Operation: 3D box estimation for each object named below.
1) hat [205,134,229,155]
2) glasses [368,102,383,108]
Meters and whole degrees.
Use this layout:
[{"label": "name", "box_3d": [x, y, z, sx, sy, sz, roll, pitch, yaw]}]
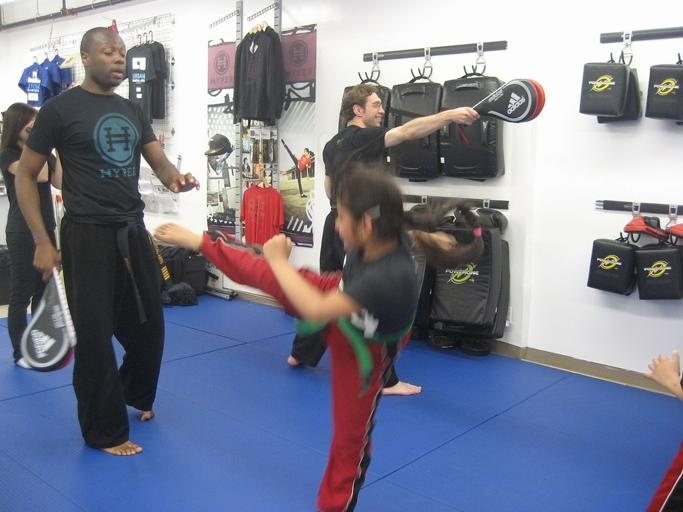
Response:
[{"label": "hat", "box_3d": [-1.485, -1.357, 6.272, 0.270, 0.189, 0.204, -3, 14, -3]}, {"label": "glasses", "box_3d": [0.247, -1.062, 3.601, 0.132, 0.053, 0.038, -7, 14, -35]}]
